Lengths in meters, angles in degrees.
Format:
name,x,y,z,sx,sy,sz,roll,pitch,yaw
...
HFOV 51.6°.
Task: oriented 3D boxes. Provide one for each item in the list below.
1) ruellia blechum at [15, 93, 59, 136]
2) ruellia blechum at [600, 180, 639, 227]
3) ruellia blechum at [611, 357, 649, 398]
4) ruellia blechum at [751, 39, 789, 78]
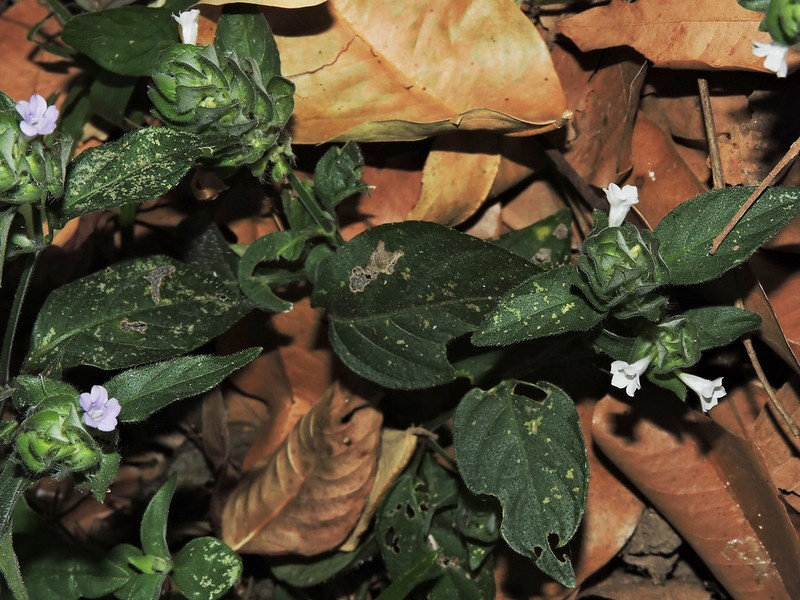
name,x,y,z,sx,sy,sz,roll,pitch,yaw
ruellia blechum,-1.008,-0.511,2.304,0.101,0.113,0.150,-10,20,-24
ruellia blechum,0.649,-0.284,2.481,0.121,0.129,0.124,22,18,28
ruellia blechum,0.679,0.215,2.412,0.112,0.100,0.100,0,18,4
ruellia blechum,1.065,-0.676,2.332,0.163,0.103,0.087,-15,22,-34
